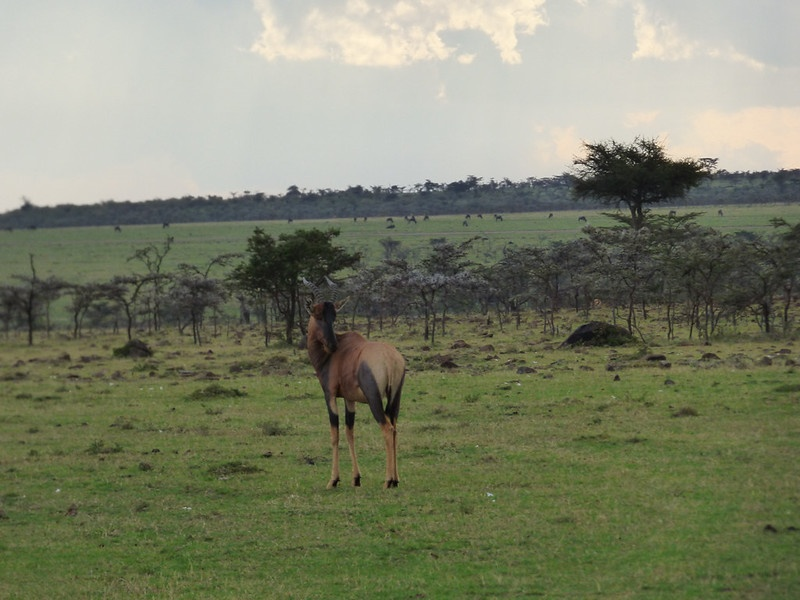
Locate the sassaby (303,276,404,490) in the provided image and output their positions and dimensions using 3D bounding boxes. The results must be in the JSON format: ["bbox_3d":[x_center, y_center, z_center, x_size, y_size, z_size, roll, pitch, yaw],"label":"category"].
[{"bbox_3d":[-1.569,2.902,43.773,3.468,7.494,1.807,-1,-3,3],"label":"sassaby"}]

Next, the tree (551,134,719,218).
[{"bbox_3d":[18.254,-8.700,92.807,9.204,6.847,7.920,0,7,-34],"label":"tree"}]
